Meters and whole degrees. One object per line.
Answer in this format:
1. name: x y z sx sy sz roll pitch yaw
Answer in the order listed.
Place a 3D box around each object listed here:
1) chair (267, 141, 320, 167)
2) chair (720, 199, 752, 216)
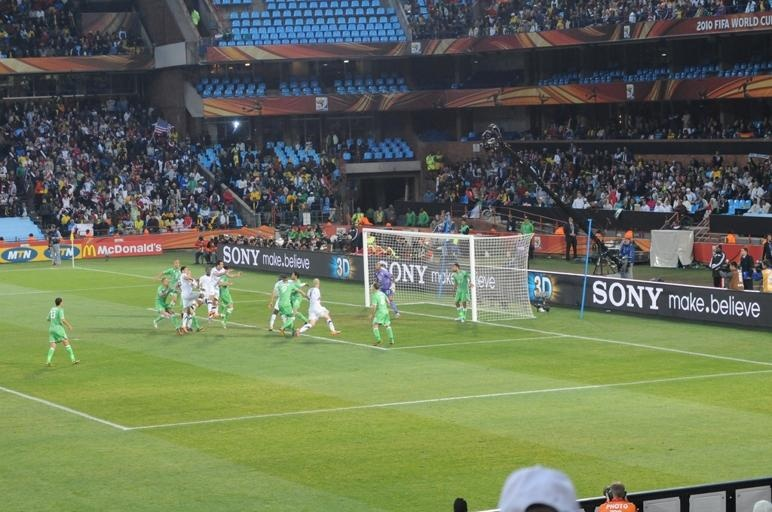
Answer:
1. chair: -5.532 -6.144 82.428 2.394 0.766 1.809 15 15 43
2. chair: 17.511 -2.401 67.551 1.382 0.707 1.031 0 0 18
